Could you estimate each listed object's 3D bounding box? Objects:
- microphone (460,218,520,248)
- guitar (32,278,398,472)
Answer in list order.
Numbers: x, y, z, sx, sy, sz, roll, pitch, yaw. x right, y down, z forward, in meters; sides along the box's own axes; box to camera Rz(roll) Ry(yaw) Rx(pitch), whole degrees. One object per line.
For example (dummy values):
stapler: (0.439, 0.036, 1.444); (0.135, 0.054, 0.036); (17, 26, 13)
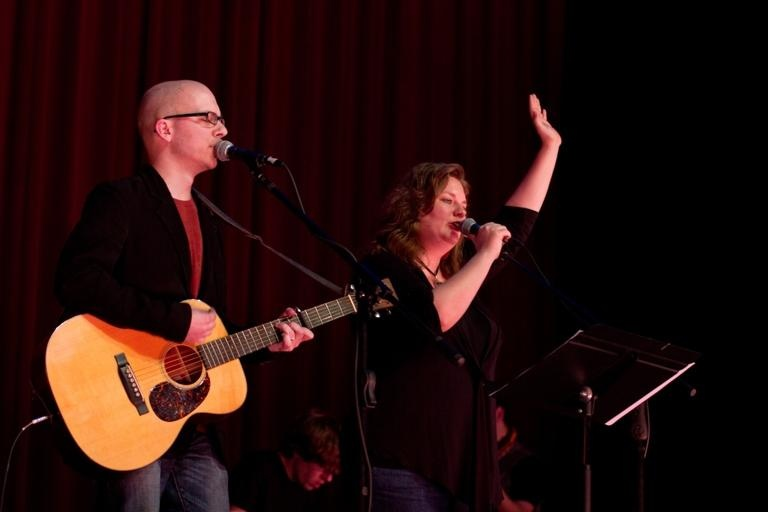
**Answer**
microphone: (0.560, -0.118, 3.986); (0.240, 0.076, 0.072); (29, 13, 31)
guitar: (-0.740, 0.504, 4.052); (1.944, 0.215, 0.826); (-15, 59, -39)
